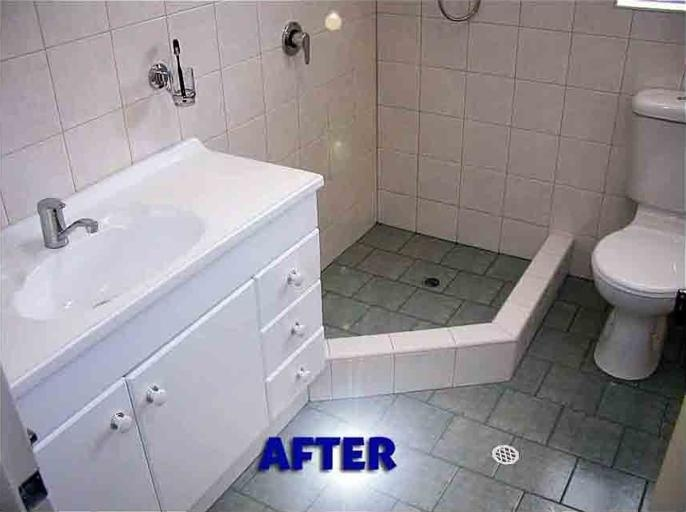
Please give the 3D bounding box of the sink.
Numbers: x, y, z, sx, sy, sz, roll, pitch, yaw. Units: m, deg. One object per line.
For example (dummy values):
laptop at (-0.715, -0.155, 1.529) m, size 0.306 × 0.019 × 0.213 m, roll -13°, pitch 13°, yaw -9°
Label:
sink at (-0.674, 0.015, 1.452) m, size 0.305 × 0.130 × 0.531 m, roll 27°, pitch 43°, yaw 34°

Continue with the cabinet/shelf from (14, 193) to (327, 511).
cabinet/shelf at (-0.491, 0.248, 1.424) m, size 0.316 × 0.704 × 0.828 m, roll 22°, pitch 46°, yaw 25°

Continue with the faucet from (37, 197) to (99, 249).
faucet at (-0.790, -0.089, 1.440) m, size 0.175 × 0.134 × 0.063 m, roll 12°, pitch 35°, yaw 9°
